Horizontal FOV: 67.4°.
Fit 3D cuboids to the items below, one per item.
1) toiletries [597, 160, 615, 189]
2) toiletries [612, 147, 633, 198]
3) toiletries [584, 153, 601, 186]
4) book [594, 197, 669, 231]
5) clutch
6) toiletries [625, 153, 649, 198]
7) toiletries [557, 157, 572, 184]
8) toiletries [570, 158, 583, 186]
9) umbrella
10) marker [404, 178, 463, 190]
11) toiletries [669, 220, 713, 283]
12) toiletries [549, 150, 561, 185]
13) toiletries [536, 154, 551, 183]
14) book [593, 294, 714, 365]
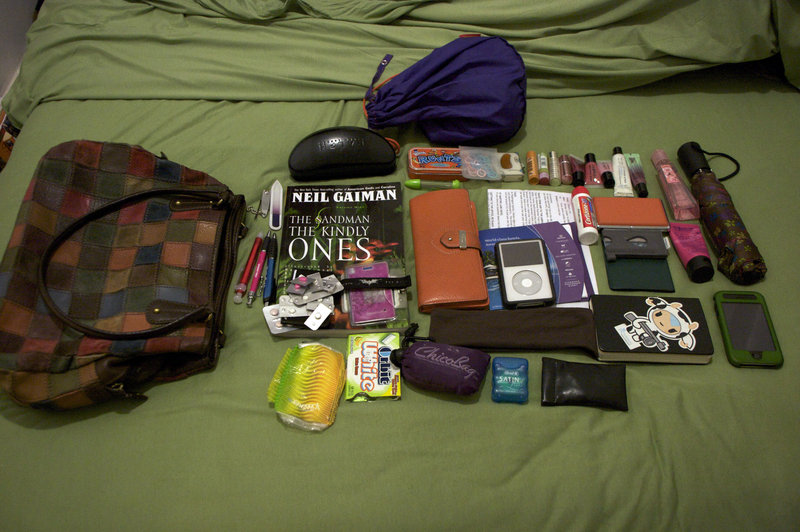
[{"bbox_3d":[0.944,-0.415,2.745,0.063,0.116,0.058,-1,-42,9],"label":"toiletries"},{"bbox_3d":[1.017,-0.433,2.725,0.081,0.203,0.036,1,-32,4],"label":"toiletries"},{"bbox_3d":[0.891,-0.438,2.755,0.076,0.134,0.034,-1,-30,3],"label":"toiletries"},{"bbox_3d":[1.015,-0.229,2.640,0.308,0.154,0.043,0,-11,3],"label":"book"},{"bbox_3d":[0.206,-0.052,2.551,0.378,0.808,0.258,-3,-41,0],"label":"clutch"},{"bbox_3d":[1.088,-0.413,2.745,0.065,0.223,0.037,-1,-35,1],"label":"toiletries"},{"bbox_3d":[0.761,-0.439,2.754,0.065,0.142,0.032,-2,-11,11],"label":"toiletries"},{"bbox_3d":[0.821,-0.431,2.751,0.072,0.151,0.053,1,-11,-4],"label":"toiletries"},{"bbox_3d":[1.412,-0.227,2.645,0.271,0.559,0.134,-7,-30,8],"label":"umbrella"},{"bbox_3d":[0.153,-0.371,2.754,0.260,0.050,0.045,0,-10,0],"label":"marker"},{"bbox_3d":[1.277,-0.064,2.582,0.156,0.278,0.134,6,-12,-26],"label":"toiletries"},{"bbox_3d":[0.711,-0.441,2.752,0.047,0.203,0.046,4,-36,-1],"label":"toiletries"},{"bbox_3d":[0.663,-0.441,2.757,0.061,0.145,0.044,2,-11,-10],"label":"toiletries"},{"bbox_3d":[1.020,0.257,2.427,0.465,0.275,0.055,0,-11,2],"label":"book"}]
